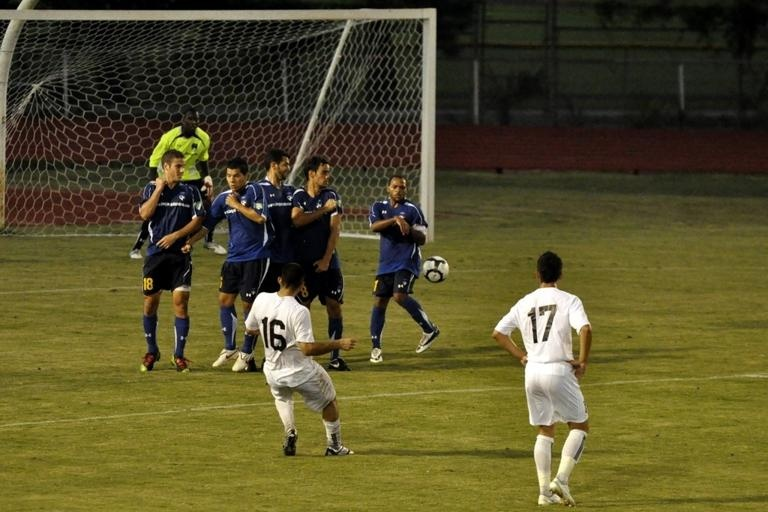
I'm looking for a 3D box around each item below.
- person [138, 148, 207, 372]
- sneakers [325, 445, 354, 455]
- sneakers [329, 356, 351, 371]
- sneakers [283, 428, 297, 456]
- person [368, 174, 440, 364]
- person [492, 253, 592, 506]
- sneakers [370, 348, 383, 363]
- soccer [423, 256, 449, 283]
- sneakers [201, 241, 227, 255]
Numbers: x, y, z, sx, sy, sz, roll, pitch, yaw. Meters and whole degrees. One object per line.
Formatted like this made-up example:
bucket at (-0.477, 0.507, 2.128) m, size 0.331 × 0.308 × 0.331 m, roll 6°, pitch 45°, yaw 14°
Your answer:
person at (-3.132, 0.076, 22.511) m, size 0.890 × 3.242 × 0.375 m, roll 1°, pitch 3°, yaw -5°
sneakers at (-0.607, 2.603, 20.520) m, size 0.414 × 0.138 × 0.124 m, roll 0°, pitch 5°, yaw -4°
sneakers at (-0.600, 1.604, 22.770) m, size 0.394 × 0.134 × 0.142 m, roll 1°, pitch 0°, yaw 12°
sneakers at (-1.271, 2.473, 20.409) m, size 0.158 × 0.355 × 0.185 m, roll 10°, pitch 25°, yaw -9°
person at (0.329, 0.184, 23.323) m, size 1.074 × 2.817 × 0.815 m, roll 1°, pitch 3°, yaw 1°
person at (2.101, 1.565, 19.819) m, size 1.063 × 3.233 × 0.676 m, roll 2°, pitch 4°, yaw 24°
sneakers at (-0.116, 1.486, 23.156) m, size 0.209 × 0.220 × 0.324 m, roll 1°, pitch 3°, yaw -2°
soccer at (0.823, 0.203, 24.421) m, size 0.481 × 0.382 × 0.423 m, roll 5°, pitch -16°, yaw 0°
sneakers at (-3.162, -0.163, 28.817) m, size 0.547 × 0.191 × 0.203 m, roll 9°, pitch 13°, yaw 28°
